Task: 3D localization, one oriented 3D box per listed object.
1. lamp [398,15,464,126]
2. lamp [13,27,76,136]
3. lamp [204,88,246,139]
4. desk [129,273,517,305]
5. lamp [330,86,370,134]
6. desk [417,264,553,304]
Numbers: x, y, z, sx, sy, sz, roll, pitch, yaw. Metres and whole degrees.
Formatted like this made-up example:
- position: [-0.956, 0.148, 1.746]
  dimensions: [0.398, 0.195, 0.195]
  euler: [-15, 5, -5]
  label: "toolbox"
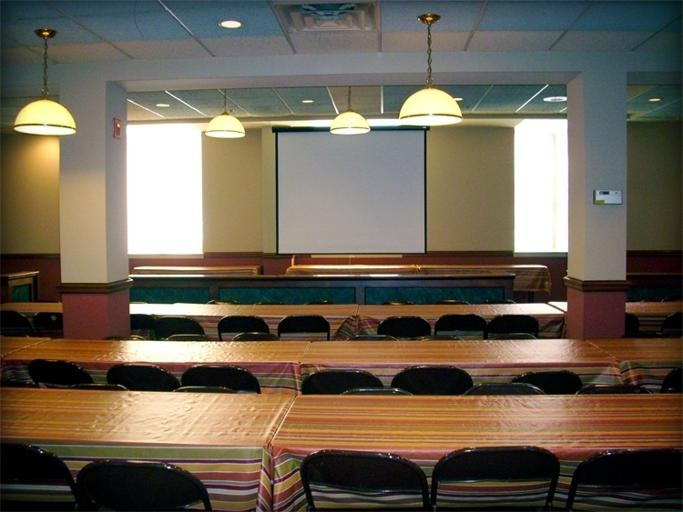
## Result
- position: [0.783, -1.660, 5.117]
  dimensions: [0.647, 0.796, 0.633]
  euler: [-17, 22, -36]
  label: "lamp"
- position: [-2.849, -1.614, 5.579]
  dimensions: [0.509, 0.952, 1.155]
  euler: [-2, 3, -24]
  label: "lamp"
- position: [-1.470, -1.843, 7.297]
  dimensions: [0.552, 0.514, 0.545]
  euler: [1, 13, -8]
  label: "lamp"
- position: [-0.289, 0.438, 7.570]
  dimensions: [5.011, 0.410, 0.431]
  euler: [-1, 3, -1]
  label: "desk"
- position: [0.100, -1.780, 6.920]
  dimensions: [0.521, 0.495, 0.497]
  euler: [9, 19, 33]
  label: "lamp"
- position: [2.501, 0.687, 11.138]
  dimensions: [2.466, 1.014, 0.849]
  euler: [-1, 16, 44]
  label: "desk"
